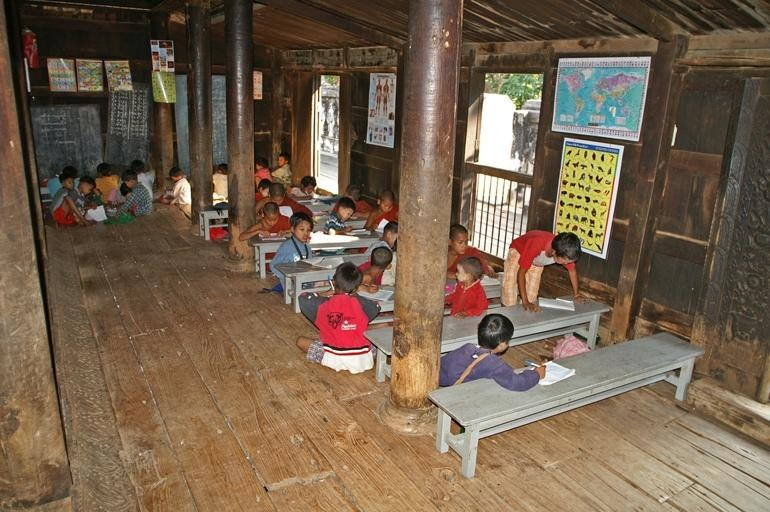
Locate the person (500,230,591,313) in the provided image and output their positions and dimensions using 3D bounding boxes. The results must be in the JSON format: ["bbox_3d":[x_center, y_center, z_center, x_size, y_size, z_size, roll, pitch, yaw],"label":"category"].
[{"bbox_3d":[2.281,0.241,7.020,0.580,1.259,0.775,-12,59,-9],"label":"person"}]

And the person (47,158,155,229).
[{"bbox_3d":[-6.529,-1.435,11.642,1.931,1.109,1.286,-13,21,-26],"label":"person"}]

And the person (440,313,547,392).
[{"bbox_3d":[1.103,1.060,5.367,1.068,0.826,0.384,9,24,24],"label":"person"}]

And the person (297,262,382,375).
[{"bbox_3d":[-0.578,0.863,6.579,1.154,1.364,0.905,-3,21,-23],"label":"person"}]
